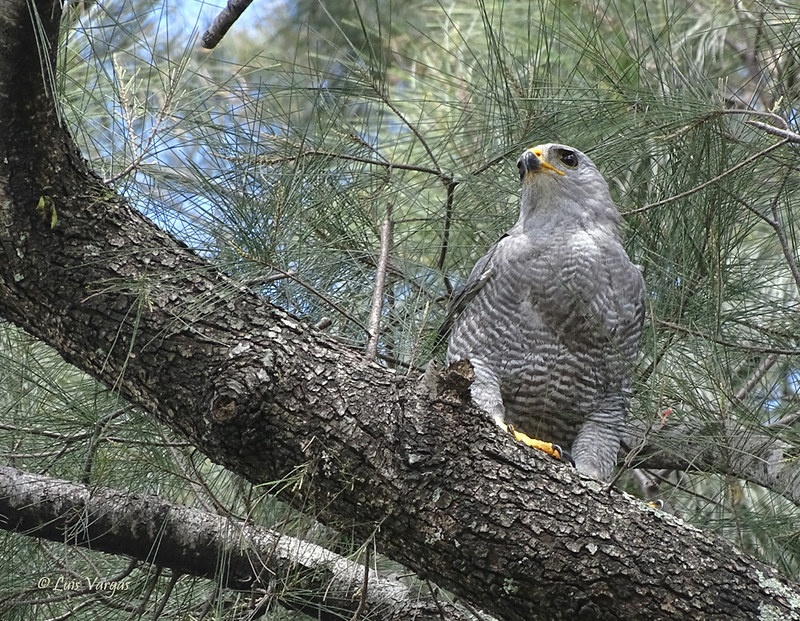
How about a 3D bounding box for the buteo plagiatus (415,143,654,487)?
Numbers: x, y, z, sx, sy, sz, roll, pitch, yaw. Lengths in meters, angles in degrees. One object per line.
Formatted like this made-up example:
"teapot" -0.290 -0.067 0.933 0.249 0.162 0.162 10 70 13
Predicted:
"buteo plagiatus" 0.634 0.169 5.841 0.834 1.593 1.225 12 -41 5
